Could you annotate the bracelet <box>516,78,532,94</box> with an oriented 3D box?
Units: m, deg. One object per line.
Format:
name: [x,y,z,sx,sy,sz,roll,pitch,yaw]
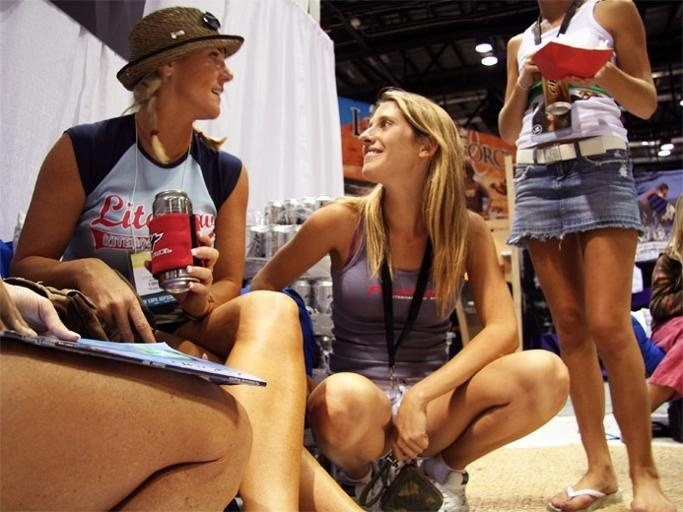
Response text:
bracelet: [0.700,-0.650,2.069,0.061,0.064,0.061,1,0,-1]

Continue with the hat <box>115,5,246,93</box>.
hat: [-0.552,-0.702,1.758,0.287,0.107,0.309,-31,-2,-38]
